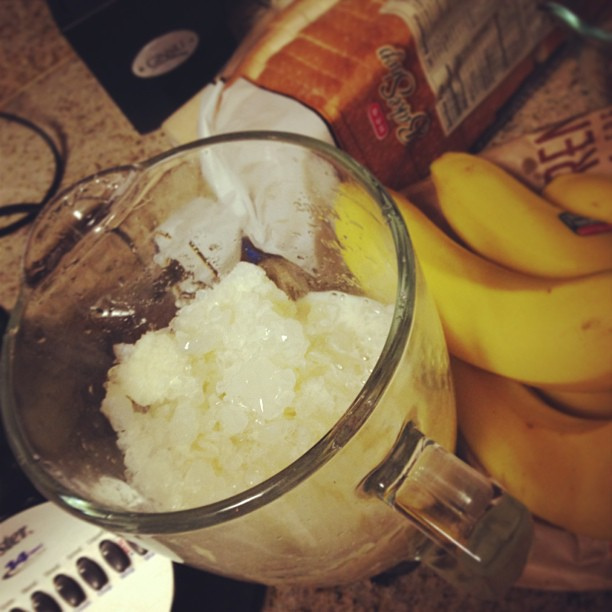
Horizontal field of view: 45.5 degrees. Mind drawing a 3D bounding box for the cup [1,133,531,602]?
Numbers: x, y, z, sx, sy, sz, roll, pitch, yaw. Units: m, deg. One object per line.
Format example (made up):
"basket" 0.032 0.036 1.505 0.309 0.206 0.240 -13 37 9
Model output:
"cup" -0.034 0.050 0.600 0.414 0.268 0.301 26 63 29
